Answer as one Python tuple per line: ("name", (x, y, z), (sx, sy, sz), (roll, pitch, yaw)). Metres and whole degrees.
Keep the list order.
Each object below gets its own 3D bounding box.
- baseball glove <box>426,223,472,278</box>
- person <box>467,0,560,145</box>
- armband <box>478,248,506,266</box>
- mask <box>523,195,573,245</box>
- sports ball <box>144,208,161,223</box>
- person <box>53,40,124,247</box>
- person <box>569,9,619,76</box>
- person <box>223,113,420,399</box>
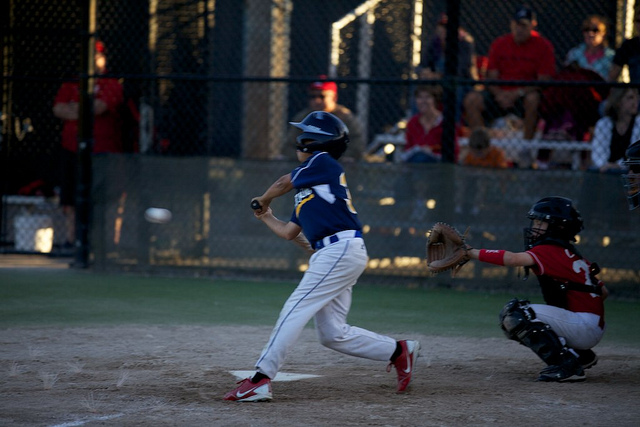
("baseball glove", (1.245, 0.322, 11.568), (0.278, 0.430, 0.638), (-7, 0, -43))
("person", (2.154, -1.579, 13.785), (1.020, 1.526, 0.408), (1, 0, 8))
("armband", (1.570, 0.404, 11.366), (0.226, 0.083, 0.158), (7, -4, 19))
("mask", (2.227, 0.092, 11.695), (0.665, 0.502, 0.480), (4, 0, 10))
("sports ball", (-1.895, 0.023, 13.819), (0.204, 0.135, 0.152), (14, 3, 33))
("person", (-2.699, -0.806, 14.335), (0.815, 2.395, 0.210), (1, 0, 17))
("person", (3.058, -1.902, 13.701), (0.808, 0.647, 0.420), (7, -2, 32))
("person", (0.015, 0.367, 11.092), (1.620, 2.489, 0.475), (1, 0, -4))
